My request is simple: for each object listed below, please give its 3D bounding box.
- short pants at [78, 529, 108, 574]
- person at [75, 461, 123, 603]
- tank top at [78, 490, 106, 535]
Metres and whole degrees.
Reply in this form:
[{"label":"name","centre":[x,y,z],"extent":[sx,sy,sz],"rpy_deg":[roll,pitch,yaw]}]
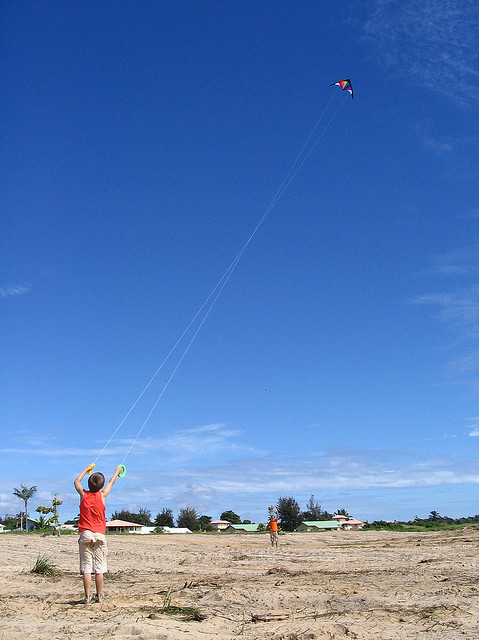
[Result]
[{"label":"short pants","centre":[-1.743,2.770,7.069],"extent":[0.326,0.549,0.313],"rpy_deg":[2,-14,-14]},{"label":"person","centre":[-1.745,2.548,7.074],"extent":[0.482,1.577,0.642],"rpy_deg":[-2,-13,1]},{"label":"tank top","centre":[-1.771,2.335,7.143],"extent":[0.294,0.515,0.254],"rpy_deg":[2,-14,-14]}]
